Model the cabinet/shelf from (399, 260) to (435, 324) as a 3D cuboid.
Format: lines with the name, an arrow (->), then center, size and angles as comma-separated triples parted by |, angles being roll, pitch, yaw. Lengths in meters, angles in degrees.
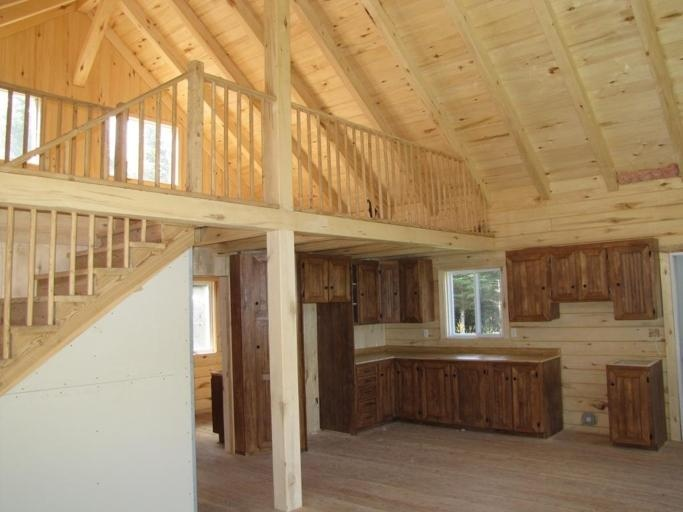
cabinet/shelf -> 1.240, 0.592, 9.709 | 0.557, 0.983, 0.546 | -2, -3, 18

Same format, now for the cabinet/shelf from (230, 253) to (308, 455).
cabinet/shelf -> -1.082, 1.311, 8.113 | 0.938, 2.751, 0.351 | 5, -17, -33

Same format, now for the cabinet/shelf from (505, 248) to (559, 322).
cabinet/shelf -> 2.774, 0.428, 8.475 | 0.672, 1.067, 0.264 | -3, 0, 23

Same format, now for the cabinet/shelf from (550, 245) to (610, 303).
cabinet/shelf -> 3.365, 0.257, 8.052 | 0.879, 0.764, 0.336 | -3, -5, 39

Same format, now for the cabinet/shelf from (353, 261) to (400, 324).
cabinet/shelf -> 0.557, 0.628, 9.515 | 1.191, 1.047, 0.601 | 0, -2, -39

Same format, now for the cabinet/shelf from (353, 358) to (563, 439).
cabinet/shelf -> 1.724, 2.037, 8.528 | 2.814, 1.151, 0.721 | -3, 0, 17

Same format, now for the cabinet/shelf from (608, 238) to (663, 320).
cabinet/shelf -> 3.837, 0.352, 7.915 | 0.747, 1.103, 0.615 | -2, -2, -21
